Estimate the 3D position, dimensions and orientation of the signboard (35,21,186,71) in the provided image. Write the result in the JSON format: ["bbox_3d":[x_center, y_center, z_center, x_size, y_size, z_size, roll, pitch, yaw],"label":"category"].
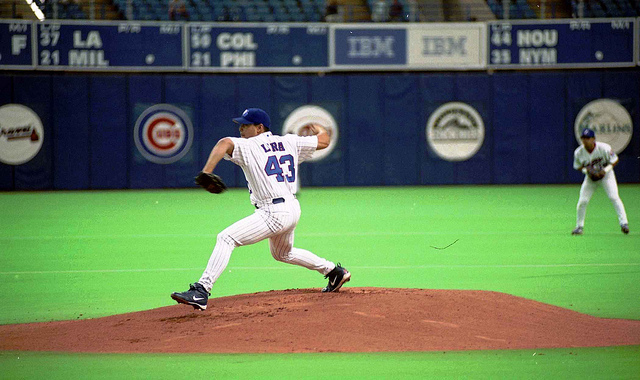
[{"bbox_3d":[-7.051,-5.003,32.612,5.293,1.891,0.093,-3,34,-23],"label":"signboard"}]

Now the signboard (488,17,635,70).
[{"bbox_3d":[8.359,-5.130,32.973,5.142,1.660,0.298,-2,6,-6],"label":"signboard"}]

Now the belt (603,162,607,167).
[{"bbox_3d":[7.427,-0.690,24.900,0.122,0.113,0.029,-3,-4,9],"label":"belt"}]

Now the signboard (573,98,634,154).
[{"bbox_3d":[10.180,-2.317,34.088,2.051,2.013,0.342,-2,6,-3],"label":"signboard"}]

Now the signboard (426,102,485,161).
[{"bbox_3d":[4.855,-1.910,34.210,2.447,2.426,2.442,-4,-2,4],"label":"signboard"}]

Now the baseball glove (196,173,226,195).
[{"bbox_3d":[-2.320,-0.202,20.388,0.582,0.329,0.257,18,38,1],"label":"baseball glove"}]

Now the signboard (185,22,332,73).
[{"bbox_3d":[-2.187,-4.982,32.755,4.923,1.688,0.450,-2,6,-7],"label":"signboard"}]
